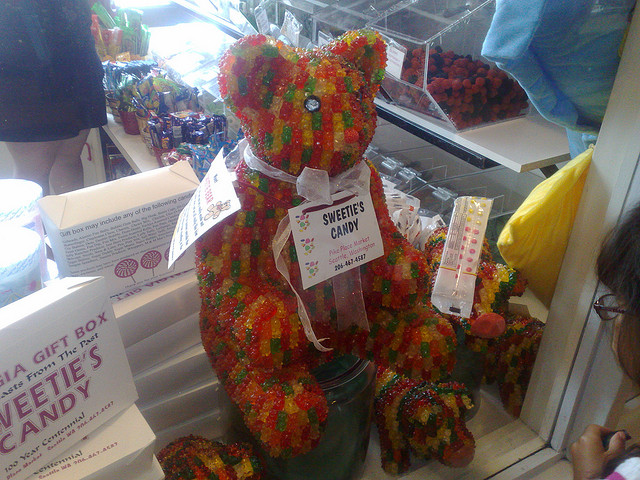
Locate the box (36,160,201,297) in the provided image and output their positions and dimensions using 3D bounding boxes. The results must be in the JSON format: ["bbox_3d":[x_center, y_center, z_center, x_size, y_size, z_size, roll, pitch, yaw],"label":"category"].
[{"bbox_3d":[-0.460,-0.017,1.146,0.390,0.285,0.126,-19,35,-19],"label":"box"}]

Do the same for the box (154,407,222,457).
[{"bbox_3d":[-0.327,0.471,1.190,0.207,0.046,0.028,-20,0,-10],"label":"box"}]

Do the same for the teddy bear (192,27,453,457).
[{"bbox_3d":[-0.013,-0.012,1.037,0.567,0.743,0.478,-21,35,-37],"label":"teddy bear"}]

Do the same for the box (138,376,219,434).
[{"bbox_3d":[-0.365,0.422,1.245,0.212,0.047,0.029,-21,10,-19],"label":"box"}]

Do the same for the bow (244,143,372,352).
[{"bbox_3d":[0.031,0.025,1.003,0.254,0.190,0.307,4,65,-13],"label":"bow"}]

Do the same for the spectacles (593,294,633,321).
[{"bbox_3d":[0.581,0.128,0.980,0.074,0.025,0.063,1,8,-38],"label":"spectacles"}]
